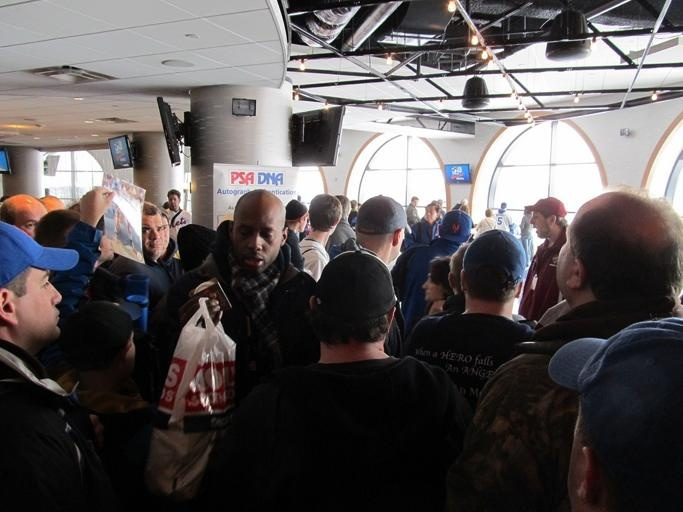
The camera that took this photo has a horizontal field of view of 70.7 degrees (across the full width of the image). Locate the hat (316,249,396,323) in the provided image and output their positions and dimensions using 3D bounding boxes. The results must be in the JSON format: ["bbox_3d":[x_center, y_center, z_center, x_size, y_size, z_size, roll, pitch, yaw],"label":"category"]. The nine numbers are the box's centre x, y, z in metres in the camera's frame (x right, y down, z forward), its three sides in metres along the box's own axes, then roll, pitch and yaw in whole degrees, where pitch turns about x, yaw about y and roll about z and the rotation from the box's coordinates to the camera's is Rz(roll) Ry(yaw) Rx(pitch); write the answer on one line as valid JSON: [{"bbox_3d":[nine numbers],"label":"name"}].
[{"bbox_3d":[0.034,0.057,1.428,0.184,0.124,0.220,2,25,10],"label":"hat"}]

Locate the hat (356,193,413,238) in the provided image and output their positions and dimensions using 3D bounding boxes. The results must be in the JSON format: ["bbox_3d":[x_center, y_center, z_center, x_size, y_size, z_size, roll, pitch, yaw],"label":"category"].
[{"bbox_3d":[0.254,-0.255,2.972,0.339,0.236,0.211,-1,9,-11],"label":"hat"}]

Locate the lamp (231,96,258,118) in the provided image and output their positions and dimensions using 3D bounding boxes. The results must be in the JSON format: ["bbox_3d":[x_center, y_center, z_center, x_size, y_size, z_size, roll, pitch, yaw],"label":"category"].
[{"bbox_3d":[-1.463,-2.240,7.266,0.376,0.268,0.083,-1,9,-13],"label":"lamp"}]

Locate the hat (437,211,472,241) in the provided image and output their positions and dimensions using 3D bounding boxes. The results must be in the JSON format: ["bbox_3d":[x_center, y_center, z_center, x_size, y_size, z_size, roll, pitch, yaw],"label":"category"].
[{"bbox_3d":[0.836,-0.215,3.611,0.189,0.156,0.270,10,55,8],"label":"hat"}]

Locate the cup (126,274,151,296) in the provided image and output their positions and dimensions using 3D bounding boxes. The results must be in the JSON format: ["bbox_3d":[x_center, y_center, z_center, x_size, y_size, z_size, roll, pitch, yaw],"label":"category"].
[{"bbox_3d":[-0.927,0.129,2.250,0.100,0.110,0.103,6,11,-1],"label":"cup"}]

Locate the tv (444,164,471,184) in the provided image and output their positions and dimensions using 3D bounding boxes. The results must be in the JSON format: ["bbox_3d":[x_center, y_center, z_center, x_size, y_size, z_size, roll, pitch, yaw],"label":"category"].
[{"bbox_3d":[3.904,-2.788,16.227,0.713,0.521,0.095,4,10,38],"label":"tv"}]

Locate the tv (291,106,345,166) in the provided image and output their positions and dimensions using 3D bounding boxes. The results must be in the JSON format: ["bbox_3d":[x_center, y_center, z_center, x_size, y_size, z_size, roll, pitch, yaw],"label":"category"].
[{"bbox_3d":[-0.394,-1.804,7.270,0.336,0.851,1.274,-3,10,-28],"label":"tv"}]

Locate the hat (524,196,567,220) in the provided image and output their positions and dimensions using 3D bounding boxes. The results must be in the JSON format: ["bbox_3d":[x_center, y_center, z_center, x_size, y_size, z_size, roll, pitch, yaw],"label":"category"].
[{"bbox_3d":[1.863,-0.441,4.438,0.308,0.168,0.201,6,4,26],"label":"hat"}]

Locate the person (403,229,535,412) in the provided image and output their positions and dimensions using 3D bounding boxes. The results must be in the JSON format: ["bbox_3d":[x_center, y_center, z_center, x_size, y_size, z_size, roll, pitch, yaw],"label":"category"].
[{"bbox_3d":[0.482,0.247,1.956,0.490,0.801,0.432,13,23,15],"label":"person"}]

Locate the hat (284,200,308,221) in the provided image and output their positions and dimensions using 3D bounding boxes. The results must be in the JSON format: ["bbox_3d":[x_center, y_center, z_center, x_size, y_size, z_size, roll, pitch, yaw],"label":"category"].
[{"bbox_3d":[-0.386,-0.378,4.036,0.136,0.121,0.191,2,26,12],"label":"hat"}]

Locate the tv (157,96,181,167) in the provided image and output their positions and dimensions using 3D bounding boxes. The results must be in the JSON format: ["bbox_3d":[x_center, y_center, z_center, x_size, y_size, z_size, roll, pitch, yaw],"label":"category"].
[{"bbox_3d":[-2.619,-1.911,7.352,0.291,1.018,0.609,-2,9,-19],"label":"tv"}]

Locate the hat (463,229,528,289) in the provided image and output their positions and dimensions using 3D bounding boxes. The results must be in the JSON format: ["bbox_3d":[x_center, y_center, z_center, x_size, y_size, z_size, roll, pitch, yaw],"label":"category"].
[{"bbox_3d":[0.606,-0.040,2.025,0.265,0.204,0.427,12,13,10],"label":"hat"}]
